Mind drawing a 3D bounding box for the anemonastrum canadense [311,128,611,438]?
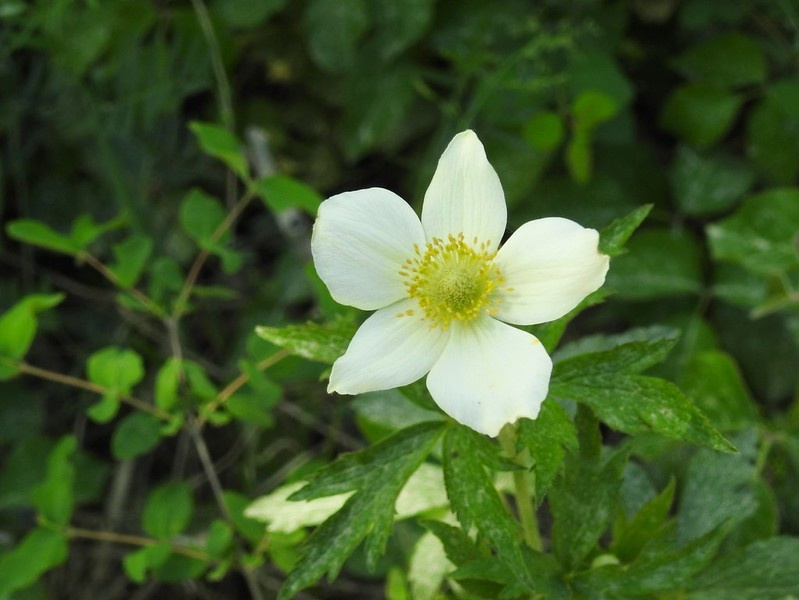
[{"bbox_3d":[0.056,-0.017,1.080,0.389,0.153,0.403,27,70,16],"label":"anemonastrum canadense"}]
